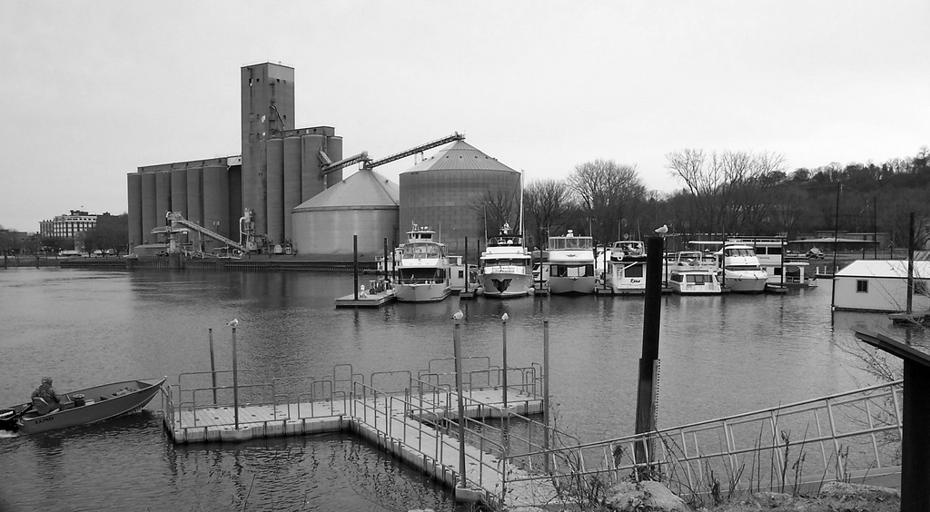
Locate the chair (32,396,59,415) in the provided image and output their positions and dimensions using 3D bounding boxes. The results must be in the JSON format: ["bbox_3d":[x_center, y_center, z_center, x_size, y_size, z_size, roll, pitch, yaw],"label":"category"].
[{"bbox_3d":[-21.077,7.458,43.065,1.077,0.962,0.818,-1,5,-37],"label":"chair"}]
